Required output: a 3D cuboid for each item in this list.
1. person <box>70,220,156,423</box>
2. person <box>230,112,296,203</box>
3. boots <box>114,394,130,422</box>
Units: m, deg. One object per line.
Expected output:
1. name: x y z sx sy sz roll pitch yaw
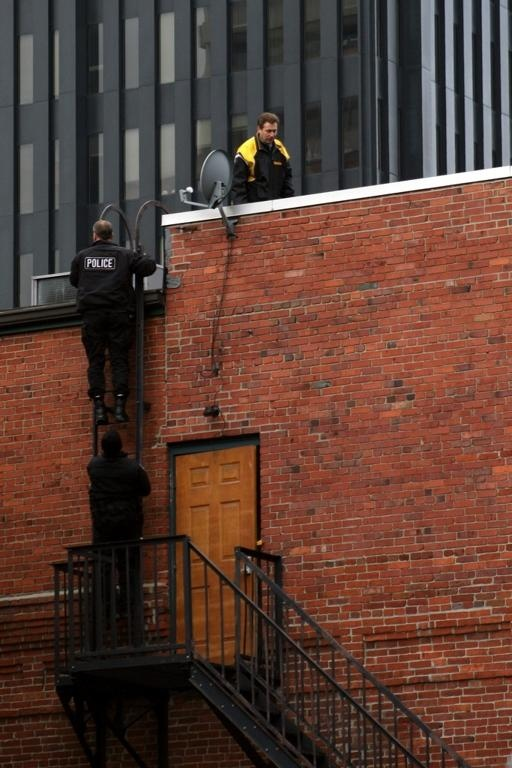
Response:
1. person: -1.441 -0.653 24.780 0.812 2.025 0.479 -2 -2 -1
2. person: 0.044 -2.320 25.293 0.622 0.955 0.819 -2 -2 -1
3. boots: -1.344 0.210 24.721 0.138 0.266 0.281 -2 -2 -2
